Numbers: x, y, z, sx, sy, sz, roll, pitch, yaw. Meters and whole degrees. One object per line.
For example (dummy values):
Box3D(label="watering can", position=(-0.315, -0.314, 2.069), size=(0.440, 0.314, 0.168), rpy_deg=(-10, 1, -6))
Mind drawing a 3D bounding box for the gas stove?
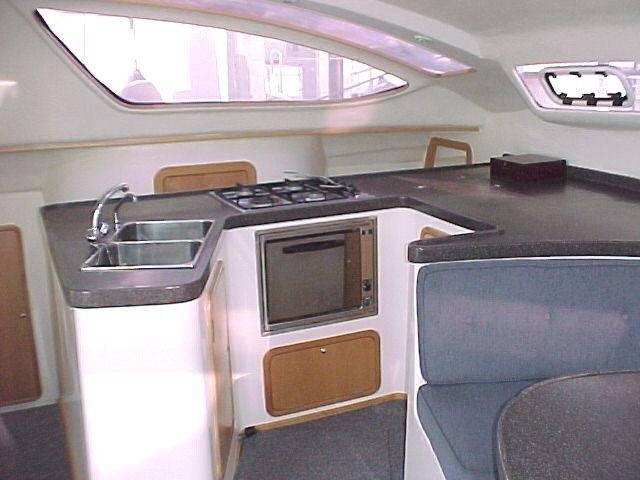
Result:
Box3D(label="gas stove", position=(-0.210, -0.263, 2.981), size=(0.777, 0.141, 0.635), rpy_deg=(-5, 8, -15))

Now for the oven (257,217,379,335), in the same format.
Box3D(label="oven", position=(-0.087, 0.187, 2.881), size=(0.732, 0.563, 0.386), rpy_deg=(-5, 7, -30))
